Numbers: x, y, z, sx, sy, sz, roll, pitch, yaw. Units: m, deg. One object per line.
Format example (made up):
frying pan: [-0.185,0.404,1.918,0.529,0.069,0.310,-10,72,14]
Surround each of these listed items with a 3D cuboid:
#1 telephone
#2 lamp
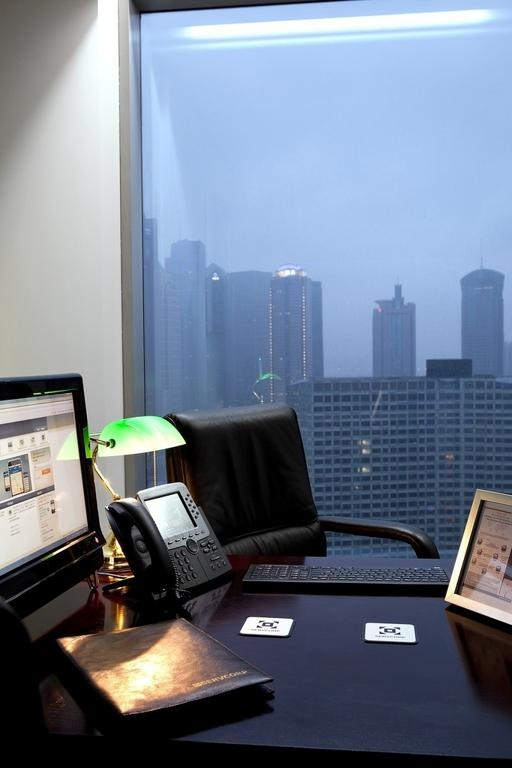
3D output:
telephone: [-0.167,0.328,1.290,0.164,0.207,0.216,-15,-1,30]
lamp: [-0.290,0.255,1.521,0.253,0.369,0.186,-7,11,21]
